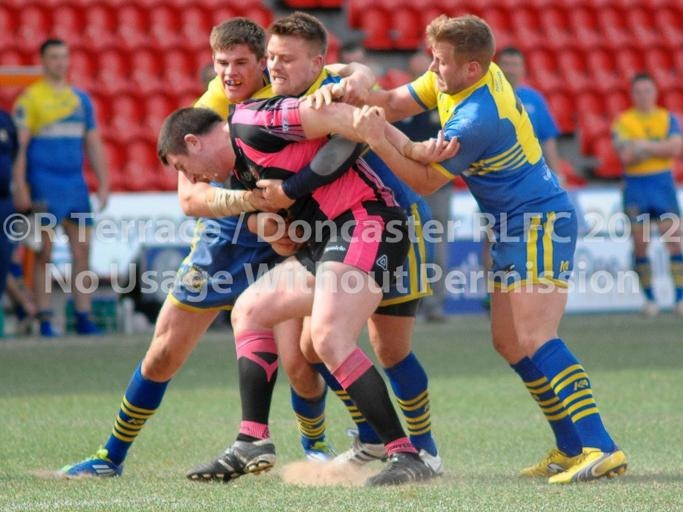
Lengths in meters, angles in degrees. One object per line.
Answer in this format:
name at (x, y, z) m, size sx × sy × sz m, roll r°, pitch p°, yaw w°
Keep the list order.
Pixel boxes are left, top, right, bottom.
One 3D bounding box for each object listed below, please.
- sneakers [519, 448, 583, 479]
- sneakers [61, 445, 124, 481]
sneakers at (1.205, 1.191, 6.120) m, size 0.406 × 0.175 × 0.142 m, roll -14°, pitch -4°, yaw -11°
sneakers at (-1.406, 1.205, 6.015) m, size 0.385 × 0.181 × 0.135 m, roll 1°, pitch 1°, yaw -11°
